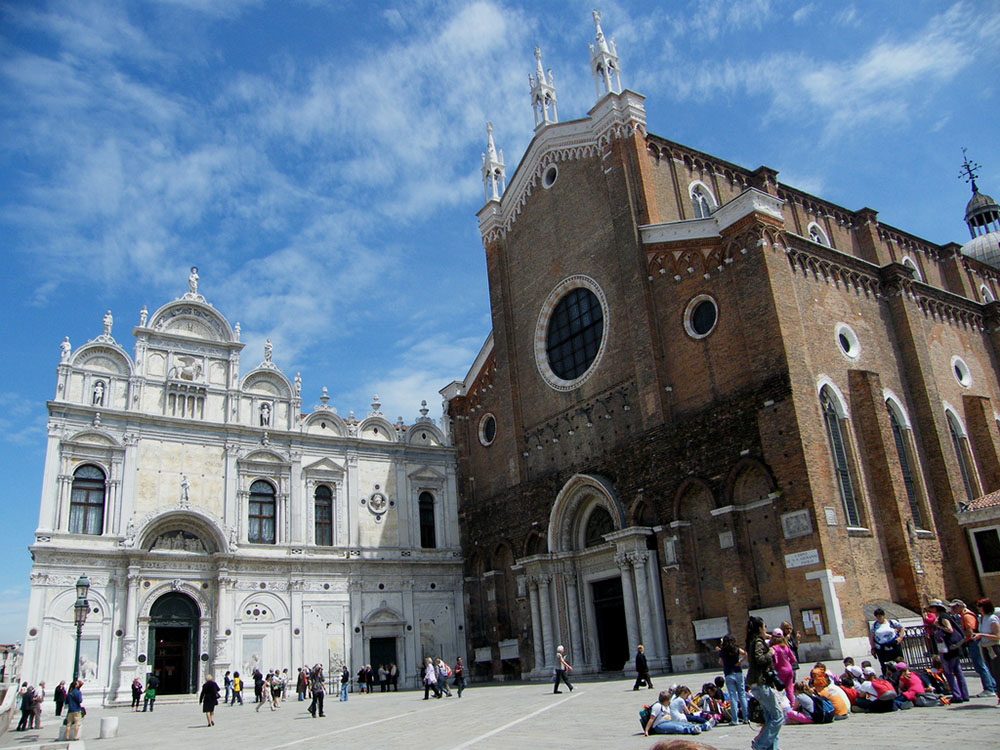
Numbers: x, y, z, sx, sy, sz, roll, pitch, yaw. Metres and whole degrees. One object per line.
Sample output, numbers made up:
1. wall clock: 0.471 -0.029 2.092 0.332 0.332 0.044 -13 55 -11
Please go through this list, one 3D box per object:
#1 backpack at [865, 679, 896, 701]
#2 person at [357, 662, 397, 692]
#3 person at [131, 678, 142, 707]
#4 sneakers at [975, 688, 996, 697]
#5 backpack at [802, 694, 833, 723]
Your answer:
1. backpack: 7.634 6.323 14.442 0.397 0.505 0.282 -3 -64 26
2. person: -6.227 15.178 36.162 1.549 1.125 0.838 15 -35 -36
3. person: -15.295 13.322 30.224 0.370 1.212 1.746 6 -25 -26
4. sneakers: 9.624 6.305 14.275 0.281 0.113 0.104 -6 -32 7
5. backpack: 6.179 6.501 14.096 0.613 0.595 0.340 3 -57 16
